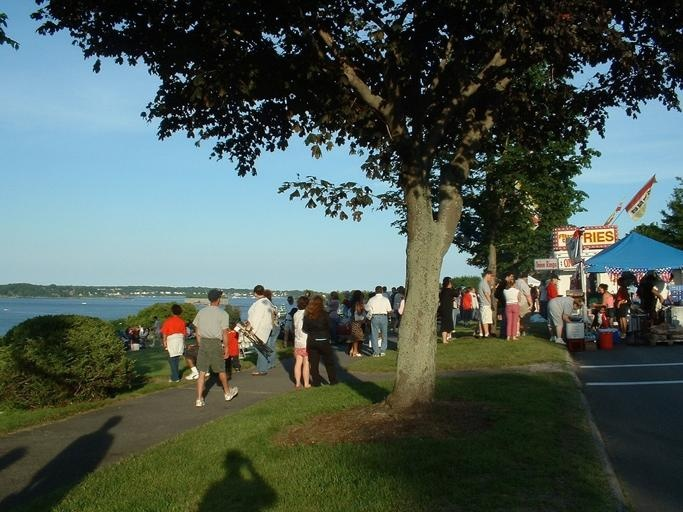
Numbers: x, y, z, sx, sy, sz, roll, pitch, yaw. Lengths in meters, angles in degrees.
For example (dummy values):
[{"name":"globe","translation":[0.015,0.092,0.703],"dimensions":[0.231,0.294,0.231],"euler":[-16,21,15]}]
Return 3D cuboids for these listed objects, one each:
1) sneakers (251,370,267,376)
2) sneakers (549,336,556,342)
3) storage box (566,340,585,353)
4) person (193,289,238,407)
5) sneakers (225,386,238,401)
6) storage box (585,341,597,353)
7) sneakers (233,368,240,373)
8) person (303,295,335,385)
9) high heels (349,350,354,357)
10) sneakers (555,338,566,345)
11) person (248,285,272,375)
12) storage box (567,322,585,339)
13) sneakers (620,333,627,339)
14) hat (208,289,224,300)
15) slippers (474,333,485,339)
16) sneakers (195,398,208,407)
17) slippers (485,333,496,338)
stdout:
[{"name":"sneakers","translation":[-2.404,3.433,15.505],"dimensions":[0.333,0.147,0.156],"euler":[9,-13,-19]},{"name":"sneakers","translation":[7.323,2.904,18.498],"dimensions":[0.170,0.175,0.103],"euler":[-4,1,18]},{"name":"storage box","translation":[7.310,2.863,16.696],"dimensions":[0.384,0.395,0.396],"euler":[-1,-5,1]},{"name":"person","translation":[-2.842,2.113,12.327],"dimensions":[1.107,2.601,0.876],"euler":[1,-2,-19]},{"name":"sneakers","translation":[-2.589,3.243,12.479],"dimensions":[0.156,0.178,0.379],"euler":[-5,26,27]},{"name":"storage box","translation":[7.771,2.847,16.699],"dimensions":[0.385,0.391,0.293],"euler":[-1,-5,0]},{"name":"sneakers","translation":[-3.250,3.570,16.538],"dimensions":[0.129,0.136,0.167],"euler":[-1,-8,-6]},{"name":"person","translation":[-0.531,2.027,12.735],"dimensions":[0.771,2.144,0.685],"euler":[0,-5,-2]},{"name":"high heels","translation":[0.327,3.466,18.734],"dimensions":[0.131,0.157,0.381],"euler":[-1,-11,-1]},{"name":"sneakers","translation":[7.256,2.870,17.745],"dimensions":[0.356,0.157,0.133],"euler":[9,1,-4]},{"name":"person","translation":[-2.293,2.151,15.079],"dimensions":[0.705,2.513,1.480],"euler":[1,-5,-7]},{"name":"storage box","translation":[7.312,2.363,16.793],"dimensions":[0.478,0.504,0.494],"euler":[-1,-5,4]},{"name":"sneakers","translation":[9.907,2.849,18.845],"dimensions":[0.197,0.208,0.201],"euler":[-2,-4,-6]},{"name":"hat","translation":[-2.831,0.886,11.910],"dimensions":[0.296,0.229,0.614],"euler":[1,-5,-14]},{"name":"slippers","translation":[5.458,3.227,21.267],"dimensions":[0.141,0.204,0.471],"euler":[-7,-15,-14]},{"name":"sneakers","translation":[-3.162,3.305,11.951],"dimensions":[0.127,0.146,0.338],"euler":[-1,-17,3]},{"name":"slippers","translation":[5.836,3.163,21.056],"dimensions":[0.394,0.161,0.121],"euler":[-16,13,-37]}]
